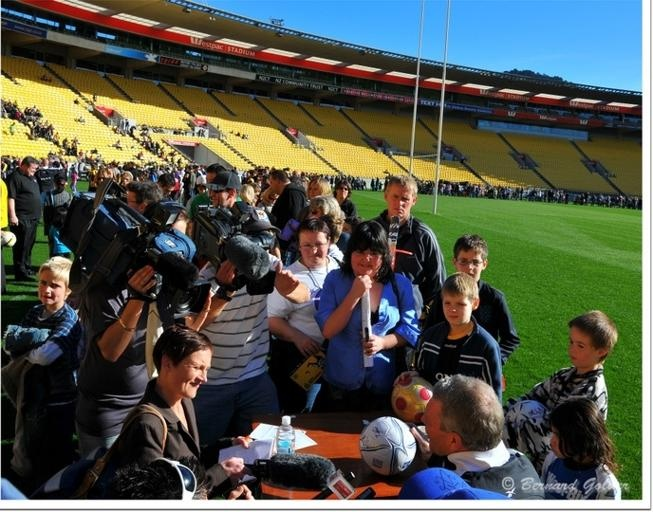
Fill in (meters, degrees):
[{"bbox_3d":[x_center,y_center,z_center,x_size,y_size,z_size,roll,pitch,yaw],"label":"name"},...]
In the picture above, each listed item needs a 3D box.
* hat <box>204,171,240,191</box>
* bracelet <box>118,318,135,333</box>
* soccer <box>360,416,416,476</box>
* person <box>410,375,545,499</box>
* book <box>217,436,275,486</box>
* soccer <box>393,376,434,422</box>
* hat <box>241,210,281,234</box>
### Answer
[{"bbox_3d":[-0.846,-0.616,4.247,0.236,0.168,0.354,6,12,12],"label":"hat"},{"bbox_3d":[-1.164,0.402,3.002,0.087,0.031,0.072,45,-10,-33],"label":"bracelet"},{"bbox_3d":[0.347,1.062,2.886,0.317,0.284,0.182,4,12,4],"label":"soccer"},{"bbox_3d":[0.747,0.880,2.777,0.452,0.454,0.731,5,4,-45],"label":"person"},{"bbox_3d":[-0.456,1.167,2.954,0.276,0.075,0.271,-1,2,-9],"label":"book"},{"bbox_3d":[0.536,0.917,3.335,0.274,0.319,0.276,-4,-16,6],"label":"soccer"},{"bbox_3d":[-0.382,-0.180,3.017,0.162,0.081,0.121,15,26,-18],"label":"hat"}]
